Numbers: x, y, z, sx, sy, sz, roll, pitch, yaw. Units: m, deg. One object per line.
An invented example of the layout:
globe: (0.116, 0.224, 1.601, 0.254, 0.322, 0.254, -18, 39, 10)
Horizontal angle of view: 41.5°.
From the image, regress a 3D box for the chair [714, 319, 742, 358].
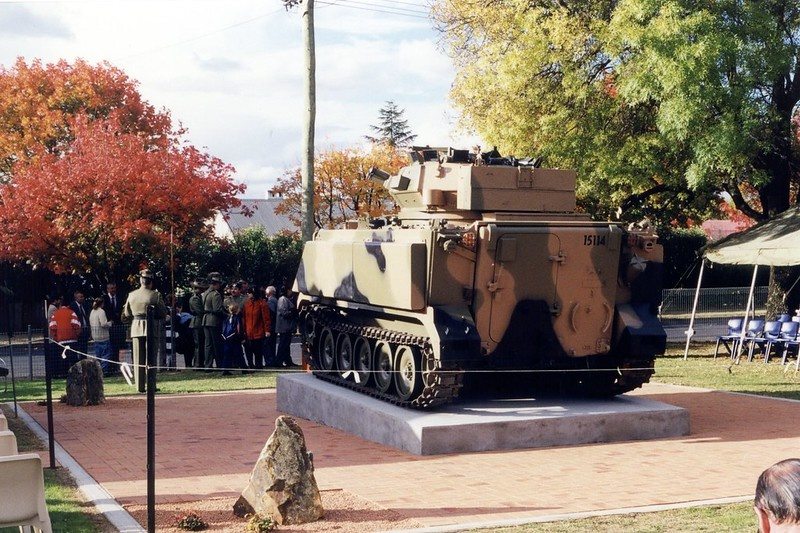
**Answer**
chair: (9.587, 2.046, 30.470, 0.641, 1.023, 0.762, 3, 6, 43)

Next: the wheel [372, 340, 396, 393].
wheel: (-0.320, 2.111, 22.279, 0.299, 1.195, 1.014, 2, 4, -21)

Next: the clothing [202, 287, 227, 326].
clothing: (-5.123, 1.111, 28.960, 0.675, 1.066, 0.807, -1, 1, -32)

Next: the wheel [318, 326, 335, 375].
wheel: (-1.760, 1.775, 24.710, 0.235, 0.825, 0.811, 6, 7, 12)

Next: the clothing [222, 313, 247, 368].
clothing: (-4.553, 1.994, 28.833, 0.713, 1.871, 0.651, 19, 42, 12)

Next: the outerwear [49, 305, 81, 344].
outerwear: (-8.951, 1.582, 28.091, 0.900, 1.115, 0.578, -3, 12, -26)

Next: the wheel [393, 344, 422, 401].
wheel: (0.173, 2.164, 21.573, 0.280, 0.963, 0.937, 2, 13, -20)

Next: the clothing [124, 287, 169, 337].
clothing: (-6.186, 1.120, 25.634, 0.978, 1.209, 0.766, 1, 1, 5)

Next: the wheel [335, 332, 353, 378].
wheel: (-1.255, 2.006, 23.744, 0.247, 0.800, 0.806, 1, -22, -22)

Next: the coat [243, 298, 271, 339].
coat: (-3.993, 1.465, 29.186, 0.967, 1.280, 0.625, 4, -11, -30)

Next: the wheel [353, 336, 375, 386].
wheel: (-0.775, 2.070, 22.962, 0.251, 0.991, 0.837, 0, 16, -22)
